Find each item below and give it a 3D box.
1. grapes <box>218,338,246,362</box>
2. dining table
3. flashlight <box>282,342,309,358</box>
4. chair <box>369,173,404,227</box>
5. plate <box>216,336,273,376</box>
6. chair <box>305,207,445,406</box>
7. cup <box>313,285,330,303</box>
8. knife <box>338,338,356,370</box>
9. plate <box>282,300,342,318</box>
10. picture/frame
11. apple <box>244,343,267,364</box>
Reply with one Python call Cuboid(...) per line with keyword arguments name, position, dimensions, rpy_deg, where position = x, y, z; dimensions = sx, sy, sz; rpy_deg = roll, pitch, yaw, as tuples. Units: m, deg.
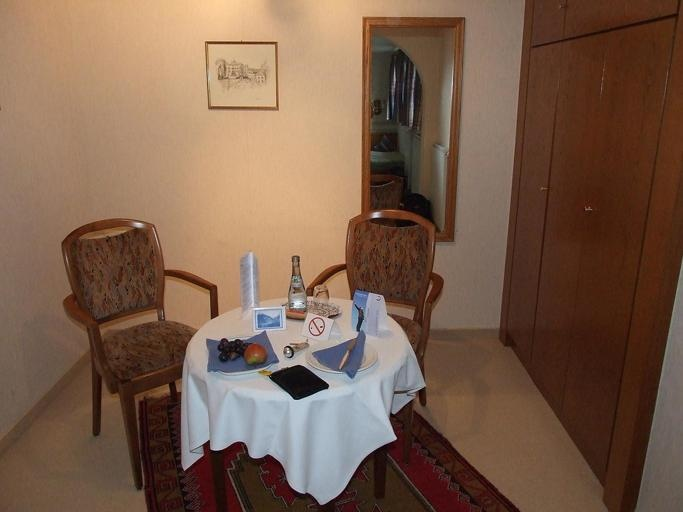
Cuboid(name="grapes", position=(-0.553, 0.472, 2.727), dimensions=(0.092, 0.047, 0.121), rpy_deg=(-7, 16, -30))
Cuboid(name="dining table", position=(-0.237, 0.756, 2.850), dimensions=(1.231, 0.615, 0.738), rpy_deg=(4, 20, 16))
Cuboid(name="flashlight", position=(-0.237, 0.485, 2.814), dimensions=(0.060, 0.064, 0.123), rpy_deg=(-37, -16, 33))
Cuboid(name="chair", position=(0.364, -0.458, 4.568), dimensions=(0.308, 0.551, 0.368), rpy_deg=(1, 34, 2))
Cuboid(name="plate", position=(-0.485, 0.514, 2.709), dimensions=(0.176, 0.052, 0.201), rpy_deg=(-7, 20, -3))
Cuboid(name="chair", position=(0.263, 0.446, 3.655), dimensions=(0.830, 1.378, 0.829), rpy_deg=(7, 15, 24))
Cuboid(name="cup", position=(-0.119, 0.227, 3.208), dimensions=(0.083, 0.120, 0.092), rpy_deg=(-1, 8, -5))
Cuboid(name="knife", position=(0.026, 0.489, 2.726), dimensions=(0.039, 0.014, 0.236), rpy_deg=(3, 22, 11))
Cuboid(name="plate", position=(-0.150, 0.319, 3.139), dimensions=(0.160, 0.031, 0.176), rpy_deg=(21, 23, 38))
Cuboid(name="picture/frame", position=(-0.798, -1.437, 4.283), dimensions=(0.441, 0.433, 0.035), rpy_deg=(-1, 13, -8))
Cuboid(name="apple", position=(-0.422, 0.488, 2.669), dimensions=(0.090, 0.122, 0.093), rpy_deg=(0, 2, 1))
